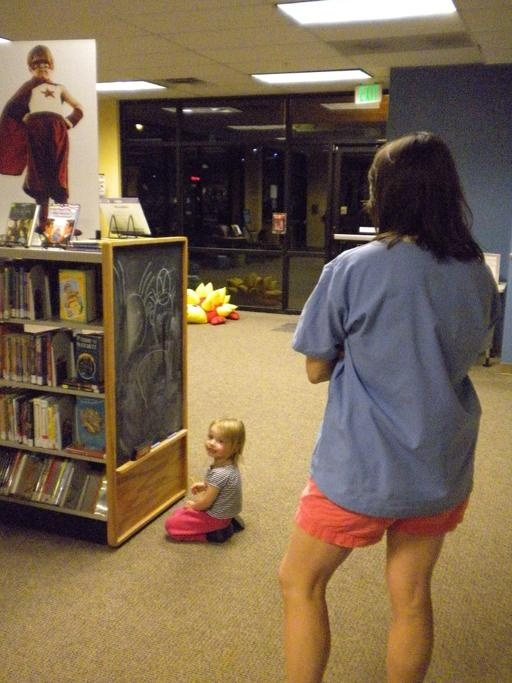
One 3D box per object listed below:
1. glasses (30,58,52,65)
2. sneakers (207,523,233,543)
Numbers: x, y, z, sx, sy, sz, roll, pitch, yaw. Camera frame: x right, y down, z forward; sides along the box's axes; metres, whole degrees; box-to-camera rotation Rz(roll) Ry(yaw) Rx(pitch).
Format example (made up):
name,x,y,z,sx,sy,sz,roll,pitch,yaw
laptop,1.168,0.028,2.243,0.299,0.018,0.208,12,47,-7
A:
name,x,y,z,sx,sy,sz,roll,pitch,yaw
glasses,-1.473,-1.930,3.985,0.142,0.039,0.014,4,12,10
sneakers,-0.164,0.843,2.531,0.097,0.043,0.124,0,3,3
